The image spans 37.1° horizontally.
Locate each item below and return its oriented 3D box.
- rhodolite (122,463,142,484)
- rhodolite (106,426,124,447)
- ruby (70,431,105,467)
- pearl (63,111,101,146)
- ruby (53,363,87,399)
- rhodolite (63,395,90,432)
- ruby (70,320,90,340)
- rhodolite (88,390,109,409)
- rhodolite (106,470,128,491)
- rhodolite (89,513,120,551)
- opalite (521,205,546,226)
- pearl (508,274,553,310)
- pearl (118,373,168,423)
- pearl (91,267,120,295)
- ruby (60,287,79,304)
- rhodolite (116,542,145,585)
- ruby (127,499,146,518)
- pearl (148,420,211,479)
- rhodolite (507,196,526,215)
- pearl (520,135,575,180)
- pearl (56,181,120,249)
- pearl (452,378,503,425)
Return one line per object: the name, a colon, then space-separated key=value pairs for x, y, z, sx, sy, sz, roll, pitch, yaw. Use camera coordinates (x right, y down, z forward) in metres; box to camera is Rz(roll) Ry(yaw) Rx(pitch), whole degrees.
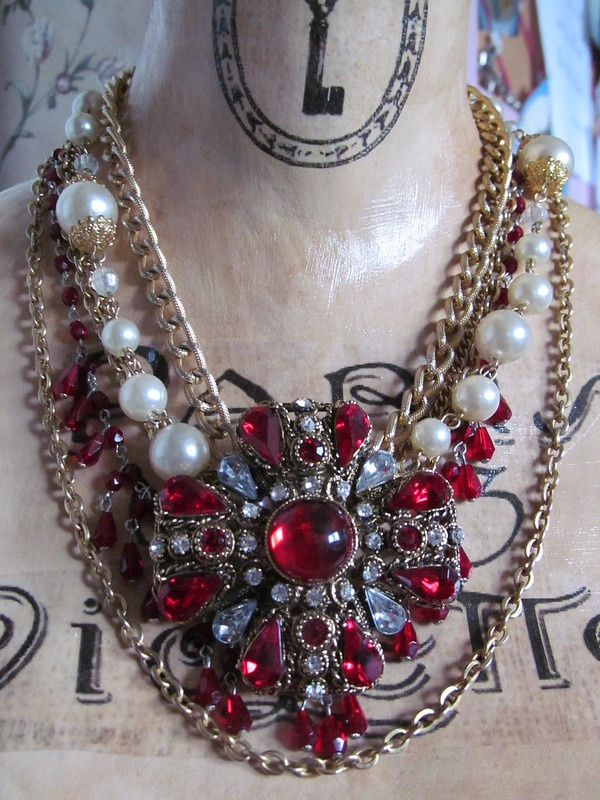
rhodolite: x=-0.179 y=0.080 z=0.958 sx=0.018 sy=0.012 sz=0.021 roll=-15 pitch=77 yaw=-8
rhodolite: x=-0.198 y=0.041 z=0.966 sx=0.018 sy=0.011 sz=0.020 roll=-13 pitch=75 yaw=-5
ruby: x=-0.222 y=0.055 z=0.952 sx=0.027 sy=0.019 sz=0.040 roll=22 pitch=46 yaw=4
pearl: x=-0.263 y=-0.329 z=1.093 sx=0.043 sy=0.044 sz=0.040 roll=2 pitch=92 yaw=5
ruby: x=-0.246 y=-0.019 z=0.973 sx=0.027 sy=0.019 sz=0.041 roll=8 pitch=53 yaw=8
rhodolite: x=-0.236 y=0.016 z=0.967 sx=0.021 sy=0.017 sz=0.035 roll=9 pitch=55 yaw=11
ruby: x=-0.250 y=-0.076 z=1.018 sx=0.016 sy=0.019 sz=0.022 roll=-38 pitch=62 yaw=28
rhodolite: x=-0.220 y=0.001 z=0.987 sx=0.019 sy=0.014 sz=0.021 roll=0 pitch=60 yaw=-23
rhodolite: x=-0.194 y=0.087 z=0.949 sx=0.015 sy=0.018 sz=0.023 roll=11 pitch=62 yaw=25
rhodolite: x=-0.203 y=0.139 z=0.928 sx=0.033 sy=0.029 sz=0.042 roll=7 pitch=59 yaw=-13
opalite: x=0.290 y=-0.231 z=1.116 sx=0.031 sy=0.013 sz=0.027 roll=9 pitch=86 yaw=22
pearl: x=0.263 y=-0.121 z=1.044 sx=0.051 sy=0.045 sz=0.047 roll=-4 pitch=89 yaw=0
pearl: x=-0.164 y=-0.002 z=0.951 sx=0.060 sy=0.051 sz=0.056 roll=-2 pitch=94 yaw=-11
pearl: x=-0.208 y=-0.132 z=0.997 sx=0.035 sy=0.032 sz=0.034 roll=4 pitch=99 yaw=11
ruby: x=-0.261 y=-0.117 z=1.022 sx=0.018 sy=0.013 sz=0.019 roll=5 pitch=82 yaw=4
rhodolite: x=-0.172 y=0.169 z=0.918 sx=0.027 sy=0.022 sz=0.036 roll=-7 pitch=80 yaw=0
ruby: x=-0.171 y=0.115 z=0.940 sx=0.017 sy=0.007 sz=0.019 roll=6 pitch=78 yaw=0
pearl: x=-0.124 y=0.054 z=0.923 sx=0.069 sy=0.058 sz=0.064 roll=1 pitch=78 yaw=-9
rhodolite: x=0.265 y=-0.239 z=1.099 sx=0.009 sy=0.026 sz=0.028 roll=1 pitch=23 yaw=32
pearl: x=0.297 y=-0.303 z=1.133 sx=0.066 sy=0.063 sz=0.056 roll=-4 pitch=29 yaw=0
pearl: x=-0.251 y=-0.214 z=1.040 sx=0.068 sy=0.060 sz=0.080 roll=-14 pitch=44 yaw=-29
pearl: x=0.190 y=0.003 z=0.974 sx=0.058 sy=0.049 sz=0.054 roll=3 pitch=88 yaw=-6
